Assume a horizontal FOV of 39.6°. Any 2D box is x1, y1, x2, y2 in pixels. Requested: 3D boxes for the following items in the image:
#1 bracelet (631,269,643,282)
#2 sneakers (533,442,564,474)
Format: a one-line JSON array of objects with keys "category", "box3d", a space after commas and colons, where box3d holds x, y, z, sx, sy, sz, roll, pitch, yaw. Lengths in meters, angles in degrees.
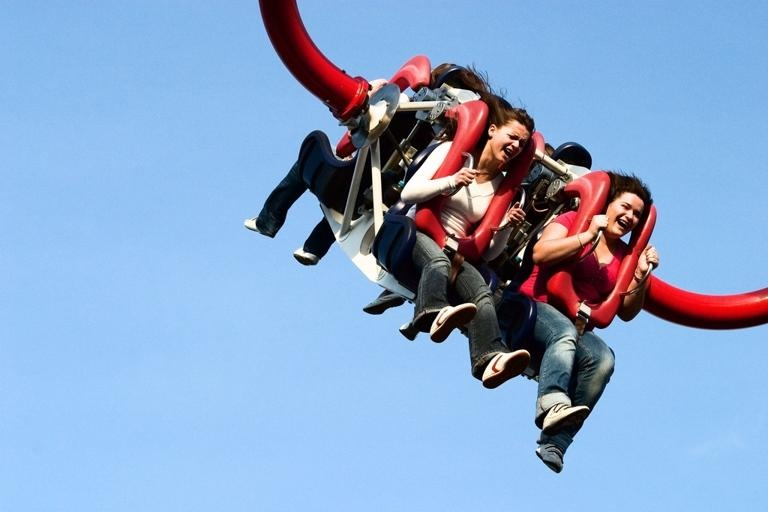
[{"category": "bracelet", "box3d": [2.936, 0.235, 12.347, 0.089, 0.049, 0.133, 7, -82, 13]}, {"category": "sneakers", "box3d": [1.805, 2.232, 11.584, 0.273, 0.401, 0.172, 17, -58, -4]}]
